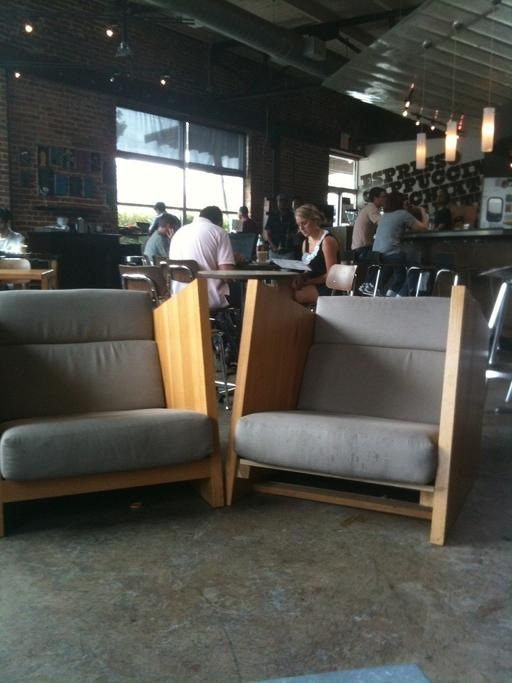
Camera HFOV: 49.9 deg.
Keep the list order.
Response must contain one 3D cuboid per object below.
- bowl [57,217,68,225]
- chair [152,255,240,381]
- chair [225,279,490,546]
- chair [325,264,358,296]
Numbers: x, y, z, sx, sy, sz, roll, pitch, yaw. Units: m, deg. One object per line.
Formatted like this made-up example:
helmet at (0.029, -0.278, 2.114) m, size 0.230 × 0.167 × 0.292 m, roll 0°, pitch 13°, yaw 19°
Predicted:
bowl at (-2.617, -1.615, 7.439) m, size 0.126 × 0.142 × 0.207 m, roll -1°, pitch 3°, yaw -22°
chair at (-0.324, -0.183, 3.956) m, size 0.756 × 1.072 × 0.597 m, roll -6°, pitch 13°, yaw -26°
chair at (0.366, 0.175, 1.964) m, size 0.757 × 0.822 × 0.874 m, roll 2°, pitch 2°, yaw 23°
chair at (0.579, -0.420, 3.789) m, size 0.219 × 0.293 × 0.221 m, roll 5°, pitch 11°, yaw 32°
